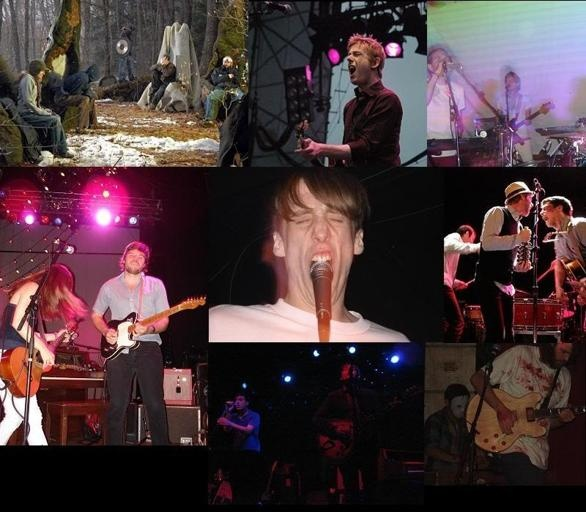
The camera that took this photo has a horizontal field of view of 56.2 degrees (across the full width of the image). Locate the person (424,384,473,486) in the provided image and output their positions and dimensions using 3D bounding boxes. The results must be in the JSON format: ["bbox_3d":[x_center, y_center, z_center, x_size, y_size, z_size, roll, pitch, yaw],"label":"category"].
[{"bbox_3d":[1.405,1.592,4.920,0.403,0.876,0.103,-1,4,-10],"label":"person"}]

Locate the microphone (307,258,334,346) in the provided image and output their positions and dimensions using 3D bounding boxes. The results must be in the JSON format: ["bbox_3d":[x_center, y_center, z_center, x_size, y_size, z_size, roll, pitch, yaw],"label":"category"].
[{"bbox_3d":[0.255,0.382,4.853,0.188,0.725,0.094,0,3,1],"label":"microphone"}]

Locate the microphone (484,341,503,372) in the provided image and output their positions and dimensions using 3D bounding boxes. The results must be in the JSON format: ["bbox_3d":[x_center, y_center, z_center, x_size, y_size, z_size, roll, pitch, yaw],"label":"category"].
[{"bbox_3d":[1.806,0.900,4.922,0.187,0.267,0.023,0,3,-4],"label":"microphone"}]

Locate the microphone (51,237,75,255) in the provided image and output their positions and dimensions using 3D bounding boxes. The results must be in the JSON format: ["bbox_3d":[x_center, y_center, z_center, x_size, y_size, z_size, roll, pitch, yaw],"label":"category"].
[{"bbox_3d":[-2.066,-0.087,4.927,0.217,0.149,0.008,0,3,1],"label":"microphone"}]

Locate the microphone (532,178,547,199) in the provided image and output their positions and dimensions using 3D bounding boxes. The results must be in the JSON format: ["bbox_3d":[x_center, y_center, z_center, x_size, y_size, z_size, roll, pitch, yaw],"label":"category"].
[{"bbox_3d":[2.205,-0.597,4.886,0.107,0.192,0.017,0,3,-7],"label":"microphone"}]

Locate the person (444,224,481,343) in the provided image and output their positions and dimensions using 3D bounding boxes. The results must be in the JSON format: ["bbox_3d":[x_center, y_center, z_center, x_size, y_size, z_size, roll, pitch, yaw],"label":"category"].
[{"bbox_3d":[1.521,0.237,4.914,0.337,1.029,0.102,-1,4,-17],"label":"person"}]

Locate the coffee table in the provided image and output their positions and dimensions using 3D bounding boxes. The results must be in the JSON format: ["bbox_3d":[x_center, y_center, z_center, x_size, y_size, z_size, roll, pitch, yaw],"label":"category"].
[{"bbox_3d":[-1.977,1.276,4.961,0.743,0.539,0.448,10,-17,-40],"label":"coffee table"}]

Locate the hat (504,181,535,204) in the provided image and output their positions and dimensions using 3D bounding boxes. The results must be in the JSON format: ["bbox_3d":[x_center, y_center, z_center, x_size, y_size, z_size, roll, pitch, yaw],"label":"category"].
[{"bbox_3d":[2.014,-0.546,4.868,0.175,0.111,0.166,-20,1,13],"label":"hat"}]

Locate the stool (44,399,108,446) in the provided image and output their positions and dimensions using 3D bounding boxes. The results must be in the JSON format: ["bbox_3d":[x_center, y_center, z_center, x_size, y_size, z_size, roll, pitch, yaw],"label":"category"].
[{"bbox_3d":[-1.957,1.356,4.956,0.531,0.564,0.346,7,-14,-31],"label":"stool"}]

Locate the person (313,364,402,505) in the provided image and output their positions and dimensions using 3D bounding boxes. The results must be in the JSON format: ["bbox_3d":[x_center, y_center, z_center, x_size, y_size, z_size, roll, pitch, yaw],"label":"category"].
[{"bbox_3d":[0.537,1.583,4.791,0.498,1.206,0.184,-2,4,-3],"label":"person"}]

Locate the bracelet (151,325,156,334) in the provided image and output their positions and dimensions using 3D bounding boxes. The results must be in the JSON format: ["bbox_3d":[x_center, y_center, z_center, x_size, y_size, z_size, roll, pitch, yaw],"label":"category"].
[{"bbox_3d":[-1.264,0.660,4.947,0.027,0.058,0.051,1,-3,1],"label":"bracelet"}]

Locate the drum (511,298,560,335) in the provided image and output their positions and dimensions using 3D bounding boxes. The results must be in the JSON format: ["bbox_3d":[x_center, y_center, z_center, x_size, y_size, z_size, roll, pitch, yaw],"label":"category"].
[{"bbox_3d":[2.206,0.540,4.963,0.409,0.357,0.285,1,-8,1],"label":"drum"}]
